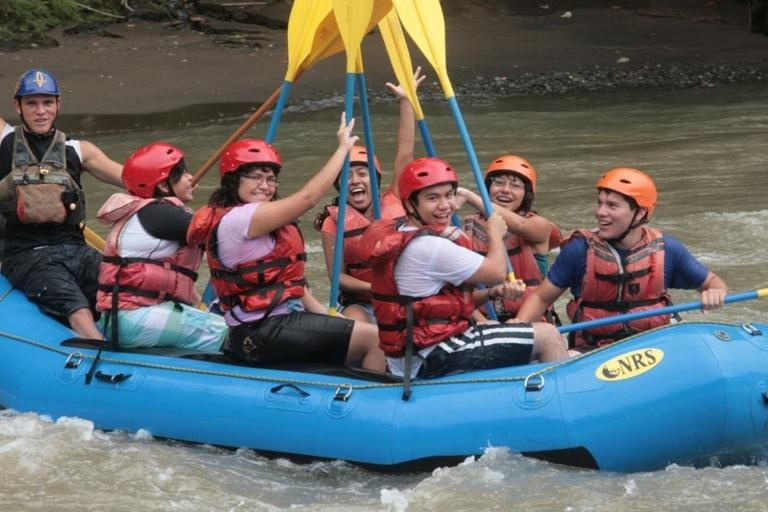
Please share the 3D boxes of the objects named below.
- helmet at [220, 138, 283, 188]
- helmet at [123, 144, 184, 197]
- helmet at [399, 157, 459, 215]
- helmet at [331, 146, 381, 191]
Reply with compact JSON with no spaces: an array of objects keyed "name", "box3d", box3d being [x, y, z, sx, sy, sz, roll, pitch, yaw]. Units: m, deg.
[{"name":"helmet","box3d":[-1.051,-0.738,7.653,0.445,0.289,0.583,-1,-1,-43]},{"name":"helmet","box3d":[-1.845,-0.679,7.802,0.461,0.378,0.319,-12,28,-26]},{"name":"helmet","box3d":[0.257,-0.515,7.331,0.418,0.418,0.396,-1,12,-20]},{"name":"helmet","box3d":[-0.232,-0.820,8.654,0.442,0.324,0.515,7,0,14]}]
